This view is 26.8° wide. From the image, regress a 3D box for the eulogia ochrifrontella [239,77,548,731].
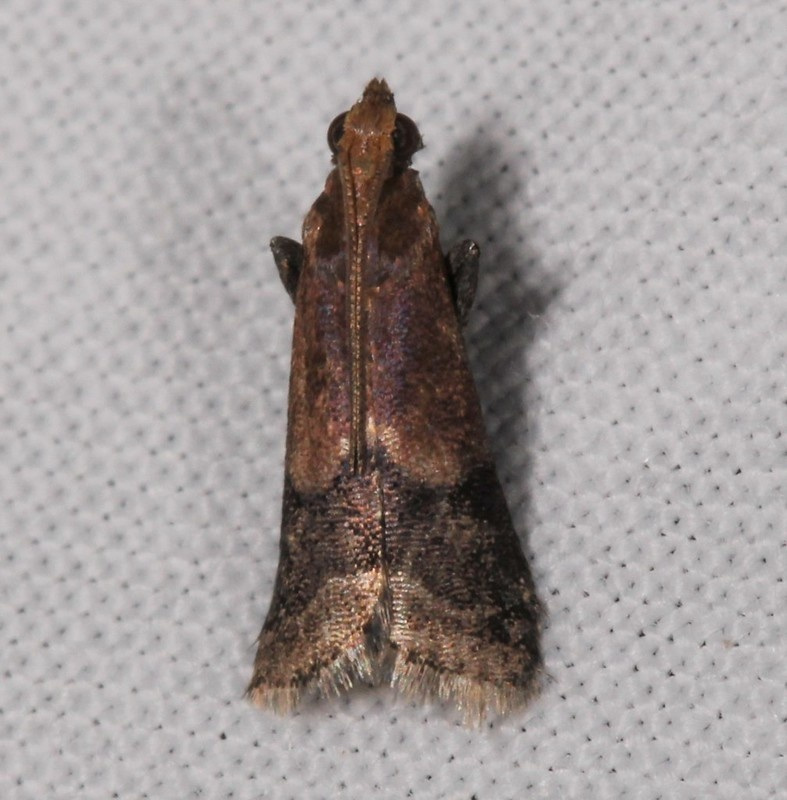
[{"bbox_3d":[-0.007,0.115,3.425,0.517,0.437,1.484,-2,86,8],"label":"eulogia ochrifrontella"}]
